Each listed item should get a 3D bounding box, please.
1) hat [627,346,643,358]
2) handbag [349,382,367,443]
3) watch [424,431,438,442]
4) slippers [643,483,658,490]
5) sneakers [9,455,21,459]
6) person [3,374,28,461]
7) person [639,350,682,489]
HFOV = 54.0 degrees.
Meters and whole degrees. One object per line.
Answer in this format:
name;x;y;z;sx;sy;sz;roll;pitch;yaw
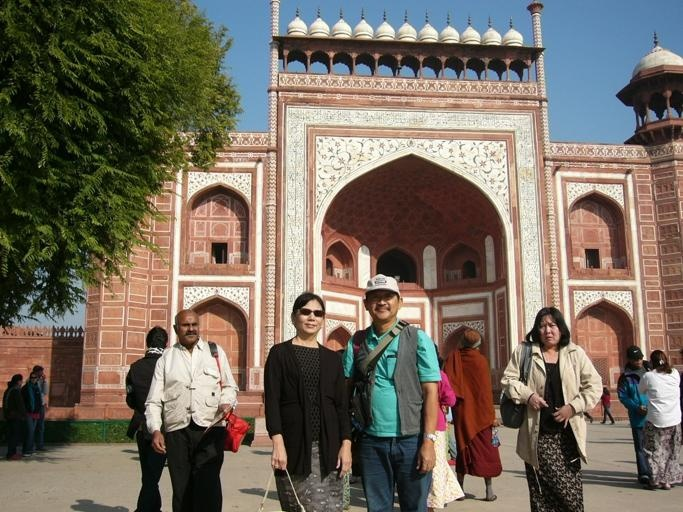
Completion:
hat;3.634;1.214;8.341;0.145;0.118;0.197;-15;7;-8
handbag;0.124;1.206;5.156;0.119;0.355;0.265;-2;-8;0
watch;0.657;1.366;5.008;0.072;0.033;0.074;18;-26;-15
slippers;3.677;2.732;7.933;0.145;0.071;0.234;-3;-11;21
sneakers;-5.011;3.118;10.310;0.166;0.077;0.059;-3;1;0
person;-5.413;2.631;11.103;0.368;1.287;1.831;5;-11;-24
person;3.832;1.956;8.016;0.470;1.616;0.430;-1;-10;12
